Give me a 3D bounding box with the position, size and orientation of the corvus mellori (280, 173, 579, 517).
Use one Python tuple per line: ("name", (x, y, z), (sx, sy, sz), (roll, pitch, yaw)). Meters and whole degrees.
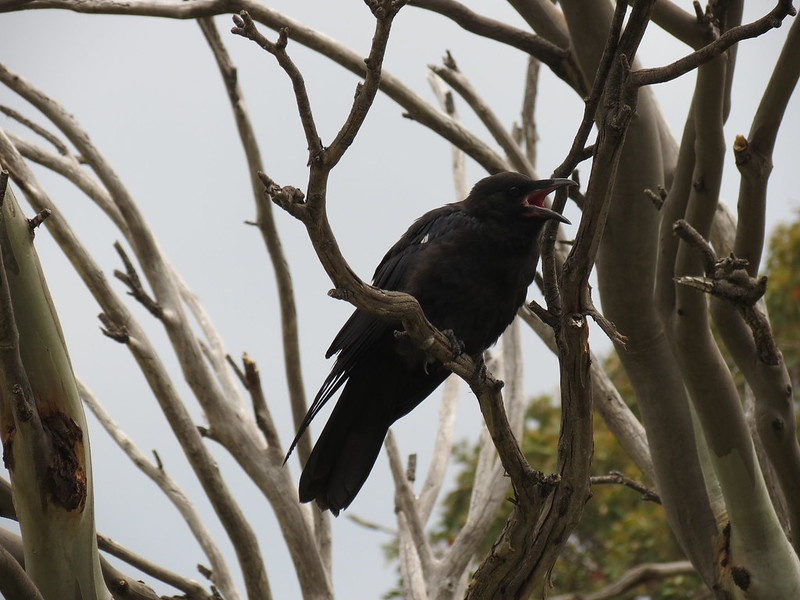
("corvus mellori", (0.091, 0.165, 10.864), (0.824, 1.338, 2.394), (27, -43, -36))
